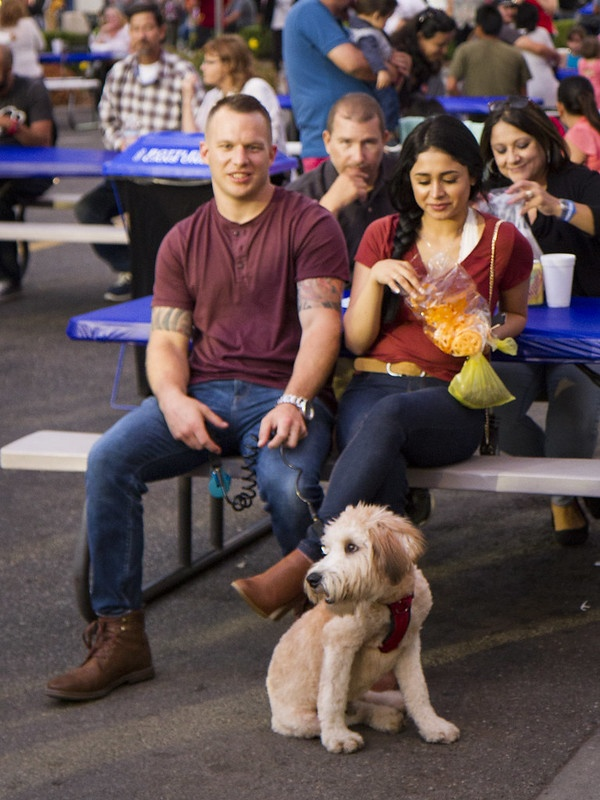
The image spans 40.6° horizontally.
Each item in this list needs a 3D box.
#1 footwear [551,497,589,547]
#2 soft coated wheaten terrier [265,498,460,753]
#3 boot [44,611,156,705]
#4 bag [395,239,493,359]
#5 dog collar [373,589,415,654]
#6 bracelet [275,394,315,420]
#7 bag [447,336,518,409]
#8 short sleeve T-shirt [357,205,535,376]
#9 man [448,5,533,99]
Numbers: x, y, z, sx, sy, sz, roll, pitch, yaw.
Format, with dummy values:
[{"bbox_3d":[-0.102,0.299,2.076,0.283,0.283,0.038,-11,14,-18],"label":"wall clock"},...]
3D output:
[{"bbox_3d":[1.096,0.485,3.274,0.147,0.198,0.212,-4,-3,6],"label":"footwear"},{"bbox_3d":[0.165,0.530,1.893,0.416,0.646,0.447,-6,8,-21],"label":"soft coated wheaten terrier"},{"bbox_3d":[-0.615,0.742,2.368,0.144,0.229,0.375,-3,-1,44],"label":"boot"},{"bbox_3d":[0.409,-0.281,2.409,0.233,0.122,0.340,-38,-37,9],"label":"bag"},{"bbox_3d":[0.213,0.497,1.808,0.048,0.116,0.090,15,-7,-24],"label":"dog collar"},{"bbox_3d":[-0.001,0.013,2.412,0.106,0.097,0.063,-1,22,20],"label":"bracelet"},{"bbox_3d":[0.540,-0.084,2.413,0.246,0.218,0.114,0,-4,-1],"label":"bag"},{"bbox_3d":[0.440,-0.330,2.491,0.503,0.425,0.266,15,10,10],"label":"short sleeve T-shirt"},{"bbox_3d":[2.488,-4.510,10.486,0.787,1.462,1.382,-4,7,-5],"label":"man"}]
